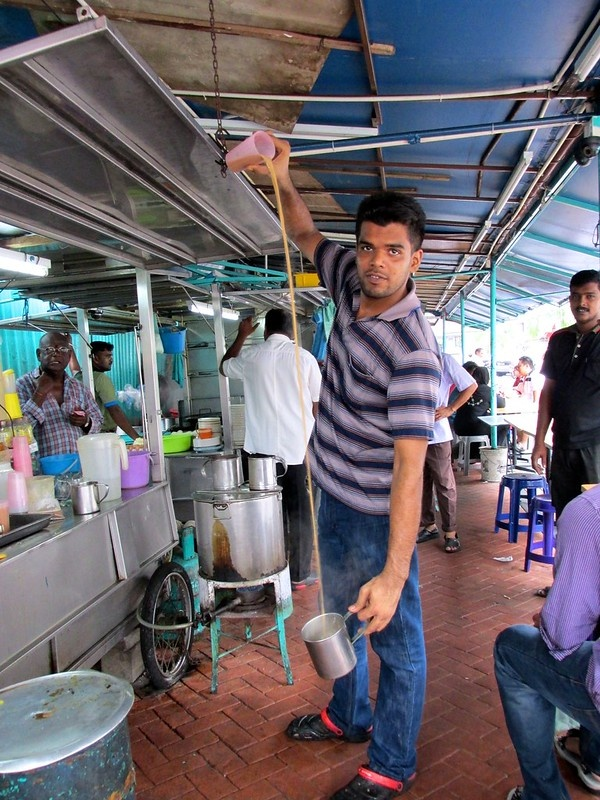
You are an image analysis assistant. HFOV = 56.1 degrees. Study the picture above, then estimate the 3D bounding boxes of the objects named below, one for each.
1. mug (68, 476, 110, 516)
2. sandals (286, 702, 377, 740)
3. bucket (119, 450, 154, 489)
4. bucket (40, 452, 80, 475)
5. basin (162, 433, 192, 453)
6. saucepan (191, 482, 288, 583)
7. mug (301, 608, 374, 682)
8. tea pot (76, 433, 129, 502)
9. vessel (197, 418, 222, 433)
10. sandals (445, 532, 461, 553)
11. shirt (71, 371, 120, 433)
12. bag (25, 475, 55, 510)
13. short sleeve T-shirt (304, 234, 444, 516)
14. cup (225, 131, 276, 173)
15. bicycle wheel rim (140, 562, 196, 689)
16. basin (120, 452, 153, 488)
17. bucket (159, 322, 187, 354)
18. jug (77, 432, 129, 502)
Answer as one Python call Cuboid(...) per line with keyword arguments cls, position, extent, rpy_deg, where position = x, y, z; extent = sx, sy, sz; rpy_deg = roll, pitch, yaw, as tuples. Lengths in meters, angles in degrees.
Cuboid(cls="mug", position=(-0.942, 0.429, 2.468), extent=(0.099, 0.147, 0.138), rpy_deg=(0, -1, 1))
Cuboid(cls="sandals", position=(0.139, 1.417, 2.508), extent=(0.400, 0.138, 0.140), rpy_deg=(4, -3, 8))
Cuboid(cls="bucket", position=(-0.902, 0.393, 3.108), extent=(0.187, 0.127, 0.175), rpy_deg=(-1, 0, 0))
Cuboid(cls="bucket", position=(-1.272, 0.344, 2.962), extent=(0.165, 0.102, 0.154), rpy_deg=(1, 1, 0))
Cuboid(cls="basin", position=(-1.127, 0.405, 5.167), extent=(0.201, 0.189, 0.372), rpy_deg=(0, -1, 4))
Cuboid(cls="saucepan", position=(-0.269, 0.661, 2.868), extent=(0.500, 0.423, 0.457), rpy_deg=(-1, 4, -1))
Cuboid(cls="mug", position=(0.109, 0.721, 1.664), extent=(0.157, 0.162, 0.220), rpy_deg=(0, -1, 22))
Cuboid(cls="tea pot", position=(-0.961, 0.313, 2.731), extent=(0.360, 0.321, 0.223), rpy_deg=(1, -1, 21))
Cuboid(cls="vessel", position=(-0.845, 0.242, 5.185), extent=(0.168, 0.142, 0.163), rpy_deg=(0, 0, -43))
Cuboid(cls="sandals", position=(1.387, 1.303, 5.108), extent=(0.151, 0.111, 0.408), rpy_deg=(-3, -8, 12))
Cuboid(cls="shirt", position=(-1.711, 0.030, 4.658), extent=(0.180, 0.450, 0.536), rpy_deg=(-18, 22, -32))
Cuboid(cls="bag", position=(-1.108, 0.390, 2.415), extent=(0.140, 0.137, 0.133), rpy_deg=(-2, 5, -24))
Cuboid(cls="short sleeve T-shirt", position=(0.264, -0.126, 2.000), extent=(0.280, 0.769, 0.697), rpy_deg=(1, -1, -22))
Cuboid(cls="cup", position=(-0.163, -0.808, 1.846), extent=(0.152, 0.106, 0.155), rpy_deg=(0, -1, 0))
Cuboid(cls="bicycle wheel rim", position=(-0.707, 1.190, 3.026), extent=(0.271, 0.630, 0.704), rpy_deg=(0, -1, -10))
Cuboid(cls="basin", position=(-0.887, 0.391, 3.078), extent=(0.182, 0.125, 0.166), rpy_deg=(1, 4, 0))
Cuboid(cls="bucket", position=(-1.403, -0.648, 6.128), extent=(0.259, 0.273, 0.363), rpy_deg=(1, -1, -18))
Cuboid(cls="jug", position=(-1.076, 0.321, 2.741), extent=(0.360, 0.321, 0.223), rpy_deg=(1, -1, 21))
